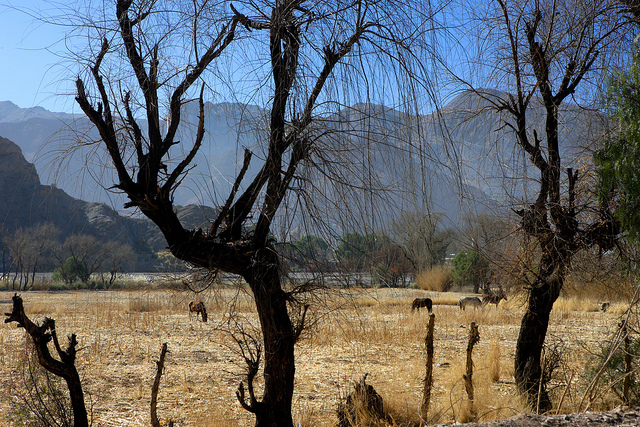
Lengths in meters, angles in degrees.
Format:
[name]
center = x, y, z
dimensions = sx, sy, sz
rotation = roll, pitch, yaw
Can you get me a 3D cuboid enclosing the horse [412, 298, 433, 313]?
[horse]
center = 4.339, 3.885, 40.523
dimensions = 0.832, 0.524, 1.962
rotation = 4, -2, 6
